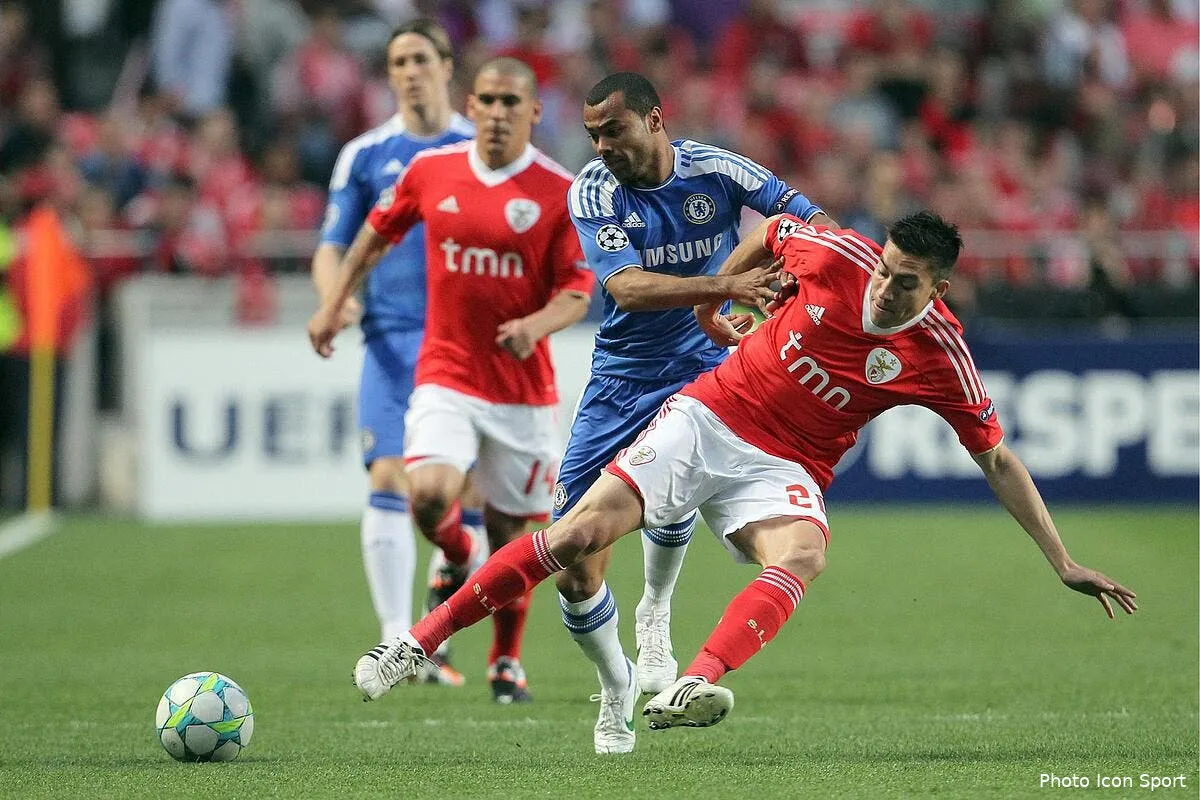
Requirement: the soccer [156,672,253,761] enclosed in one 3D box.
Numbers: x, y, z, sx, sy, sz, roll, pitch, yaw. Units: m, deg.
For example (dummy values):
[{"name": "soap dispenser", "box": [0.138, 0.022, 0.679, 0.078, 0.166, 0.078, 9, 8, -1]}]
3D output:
[{"name": "soccer", "box": [-2.306, 1.854, 9.584, 0.476, 0.517, 0.487, 9, 16, -14]}]
